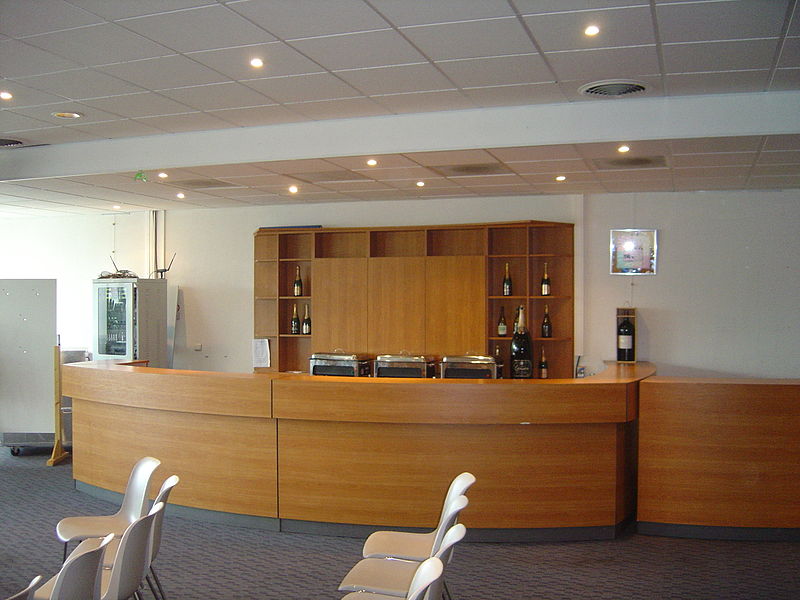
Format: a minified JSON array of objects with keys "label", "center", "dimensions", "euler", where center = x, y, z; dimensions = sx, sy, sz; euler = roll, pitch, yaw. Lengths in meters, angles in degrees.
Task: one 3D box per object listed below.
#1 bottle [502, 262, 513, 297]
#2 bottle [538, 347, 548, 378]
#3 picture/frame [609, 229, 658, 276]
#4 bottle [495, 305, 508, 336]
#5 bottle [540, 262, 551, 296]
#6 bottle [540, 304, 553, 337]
[{"label":"bottle","center":[1.565,-0.320,8.672],"dimensions":[0.161,0.465,0.246],"euler":[-1,0,9]},{"label":"bottle","center":[2.066,0.879,8.547],"dimensions":[0.125,0.392,0.162],"euler":[-1,0,13]},{"label":"picture/frame","center":[3.312,-0.688,8.327],"dimensions":[0.672,0.620,0.068],"euler":[1,-3,15]},{"label":"bottle","center":[1.501,0.293,8.729],"dimensions":[0.174,0.433,0.205],"euler":[-1,0,8]},{"label":"bottle","center":[2.109,-0.315,8.525],"dimensions":[0.131,0.452,0.252],"euler":[-1,0,15]},{"label":"bottle","center":[2.111,0.285,8.534],"dimensions":[0.157,0.437,0.222],"euler":[-1,0,14]}]
